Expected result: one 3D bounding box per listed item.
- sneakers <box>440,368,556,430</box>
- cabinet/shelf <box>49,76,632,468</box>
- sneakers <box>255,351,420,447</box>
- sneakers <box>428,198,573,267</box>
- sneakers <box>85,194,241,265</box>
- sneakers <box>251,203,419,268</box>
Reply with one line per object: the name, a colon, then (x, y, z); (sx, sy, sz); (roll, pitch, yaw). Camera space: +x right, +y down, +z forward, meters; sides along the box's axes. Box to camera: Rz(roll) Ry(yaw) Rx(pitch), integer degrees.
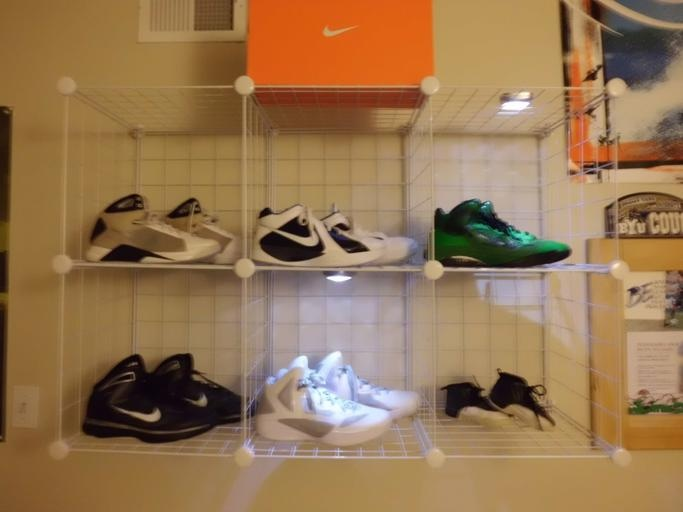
sneakers: (0.523, 0.494, 2.328); (0.457, 0.149, 0.193); (9, 73, 8)
cabinet/shelf: (0.045, 0.081, 2.266); (1.438, 0.530, 0.987); (0, 92, -4)
sneakers: (-0.009, 0.453, 2.154); (0.433, 0.283, 0.203); (1, 87, 1)
sneakers: (0.459, -0.068, 2.113); (0.534, 0.185, 0.230); (2, 85, 1)
sneakers: (-0.591, -0.078, 2.234); (0.560, 0.213, 0.250); (1, 88, -10)
sneakers: (-0.024, -0.056, 2.231); (0.559, 0.204, 0.212); (1, 85, -4)
